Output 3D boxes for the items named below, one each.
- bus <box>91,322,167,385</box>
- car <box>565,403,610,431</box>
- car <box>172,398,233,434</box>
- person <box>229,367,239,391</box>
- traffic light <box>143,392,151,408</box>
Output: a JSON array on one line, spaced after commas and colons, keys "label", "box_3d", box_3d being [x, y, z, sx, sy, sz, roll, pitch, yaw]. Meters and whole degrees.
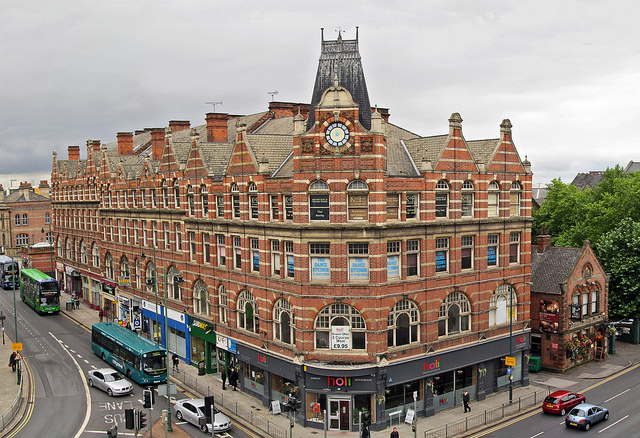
[{"label": "bus", "box_3d": [-24.409, 16.495, 130.643, 4.465, 4.314, 16.178, 0, 6, -33]}, {"label": "car", "box_3d": [29.918, 22.185, 117.154, 4.385, 1.899, 2.349, -19, 16, -35]}, {"label": "car", "box_3d": [-13.325, 22.194, 117.507, 7.010, 3.477, 2.739, 1, 3, 38]}, {"label": "person", "box_3d": [-10.267, 19.149, 123.805, 0.983, 2.547, 0.755, 1, 3, 22]}, {"label": "traffic light", "box_3d": [-18.357, 19.297, 110.716, 0.586, 1.822, 1.025, 0, 2, -11]}]
